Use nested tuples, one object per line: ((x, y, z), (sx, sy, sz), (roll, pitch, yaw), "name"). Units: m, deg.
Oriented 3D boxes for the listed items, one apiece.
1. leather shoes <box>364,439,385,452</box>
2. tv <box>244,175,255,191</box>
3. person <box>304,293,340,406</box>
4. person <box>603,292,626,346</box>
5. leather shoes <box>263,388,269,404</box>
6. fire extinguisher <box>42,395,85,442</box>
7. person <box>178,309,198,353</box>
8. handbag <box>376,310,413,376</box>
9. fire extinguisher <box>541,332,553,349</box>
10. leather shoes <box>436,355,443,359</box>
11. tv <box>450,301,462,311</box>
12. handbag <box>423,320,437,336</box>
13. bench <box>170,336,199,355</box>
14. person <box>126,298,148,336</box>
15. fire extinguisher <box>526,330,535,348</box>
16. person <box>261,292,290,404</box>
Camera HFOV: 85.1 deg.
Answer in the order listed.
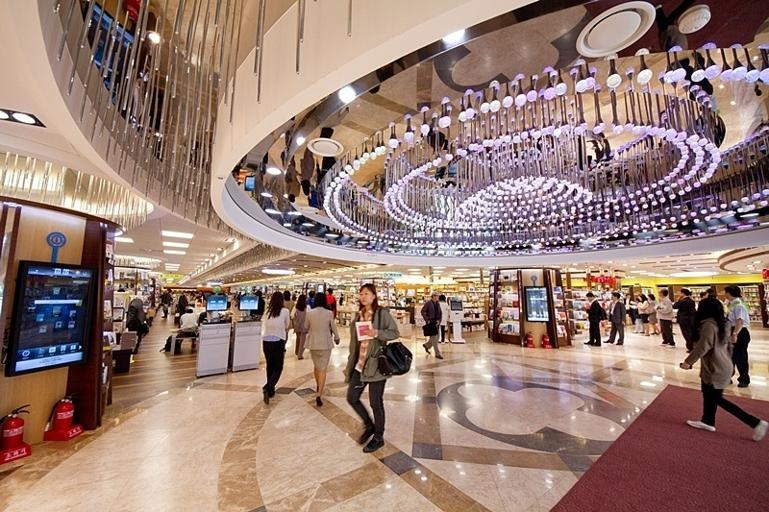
((-0.151, 2.847, 6.267), (0.338, 0.243, 0.136), (13, -18, -33), "leather shoes")
((-2.821, -1.536, 8.766), (0.218, 0.276, 0.921), (-3, 8, -18), "tv")
((-1.186, 1.707, 8.069), (0.596, 2.134, 1.125), (-1, 7, -9), "person")
((7.515, 2.003, 13.393), (0.451, 1.876, 0.845), (4, 8, 29), "person")
((-2.179, 2.566, 7.741), (0.098, 0.256, 0.225), (-2, 8, -16), "leather shoes")
((-5.066, 2.560, 6.618), (0.468, 0.574, 0.332), (0, 7, 0), "fire extinguisher")
((-5.489, 2.025, 11.790), (0.434, 0.743, 0.500), (1, 9, -19), "person")
((0.176, 1.337, 6.397), (0.425, 0.788, 0.794), (4, -34, 25), "handbag")
((5.155, 2.654, 13.122), (0.299, 0.388, 0.458), (3, 8, 21), "fire extinguisher")
((1.529, 2.719, 11.322), (0.076, 0.090, 0.224), (10, -17, -35), "leather shoes")
((2.571, 1.733, 14.692), (0.403, 0.400, 0.626), (1, 7, 9), "tv")
((1.297, 1.937, 11.301), (0.412, 0.453, 0.267), (0, 7, 4), "handbag")
((-5.799, 2.528, 11.891), (0.819, 0.405, 0.614), (-2, 14, -34), "bench")
((-6.816, 1.713, 11.469), (0.450, 1.138, 0.757), (-4, 8, -26), "person")
((4.676, 2.631, 13.219), (0.273, 0.423, 0.440), (5, 9, 34), "fire extinguisher")
((-2.077, 1.715, 8.059), (0.505, 2.008, 0.961), (-2, 7, -14), "person")
